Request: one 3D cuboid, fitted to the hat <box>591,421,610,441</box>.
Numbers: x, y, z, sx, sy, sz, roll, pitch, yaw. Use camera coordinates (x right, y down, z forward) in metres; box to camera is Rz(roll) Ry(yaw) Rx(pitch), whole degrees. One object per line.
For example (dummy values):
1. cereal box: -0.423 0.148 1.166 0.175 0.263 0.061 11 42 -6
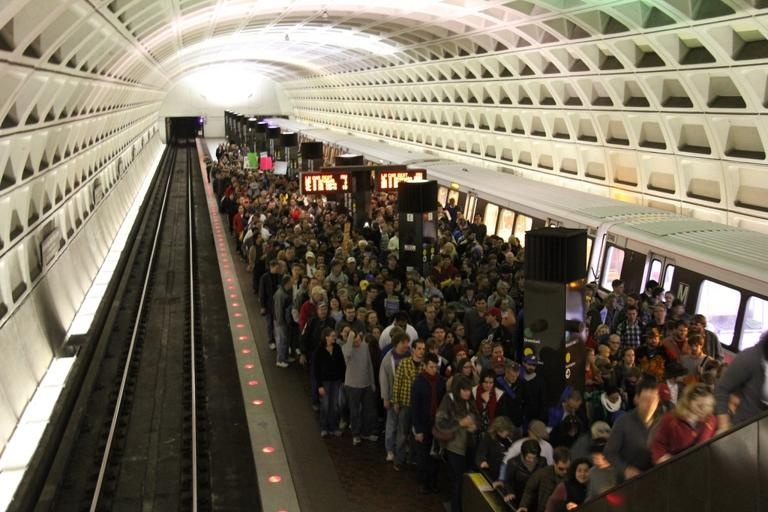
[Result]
1. hat: 2.490 2.031 5.867 0.164 0.222 0.215 4 -20 -4
